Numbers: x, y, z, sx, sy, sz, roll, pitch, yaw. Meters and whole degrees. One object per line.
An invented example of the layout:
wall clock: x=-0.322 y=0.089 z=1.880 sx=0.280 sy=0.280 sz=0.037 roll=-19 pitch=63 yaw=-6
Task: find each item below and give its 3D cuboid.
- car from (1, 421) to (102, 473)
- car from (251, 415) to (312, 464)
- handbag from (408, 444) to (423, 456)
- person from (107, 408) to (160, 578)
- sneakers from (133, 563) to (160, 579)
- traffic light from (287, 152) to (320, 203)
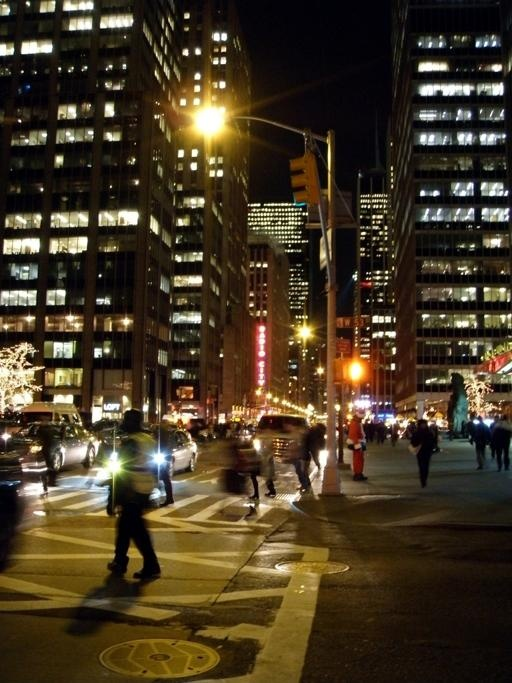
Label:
car: x=-6.107 y=3.225 z=19.943 sx=1.244 sy=1.531 sz=3.849 roll=-1 pitch=-18 yaw=5
car: x=0.866 y=3.431 z=23.935 sx=1.166 sy=1.636 sz=2.428 roll=0 pitch=-13 yaw=9
handbag: x=4.365 y=3.058 z=18.402 sx=0.270 sy=0.446 sz=0.415 roll=1 pitch=-12 yaw=7
person: x=-1.364 y=1.727 z=7.556 sx=0.579 sy=1.864 sz=0.783 roll=1 pitch=-5 yaw=-14
sneakers: x=-1.188 y=2.588 z=7.347 sx=0.292 sy=0.200 sz=0.125 roll=2 pitch=-5 yaw=10
traffic light: x=1.178 y=-3.986 z=15.784 sx=0.687 sy=1.342 sz=1.641 roll=0 pitch=-6 yaw=6
